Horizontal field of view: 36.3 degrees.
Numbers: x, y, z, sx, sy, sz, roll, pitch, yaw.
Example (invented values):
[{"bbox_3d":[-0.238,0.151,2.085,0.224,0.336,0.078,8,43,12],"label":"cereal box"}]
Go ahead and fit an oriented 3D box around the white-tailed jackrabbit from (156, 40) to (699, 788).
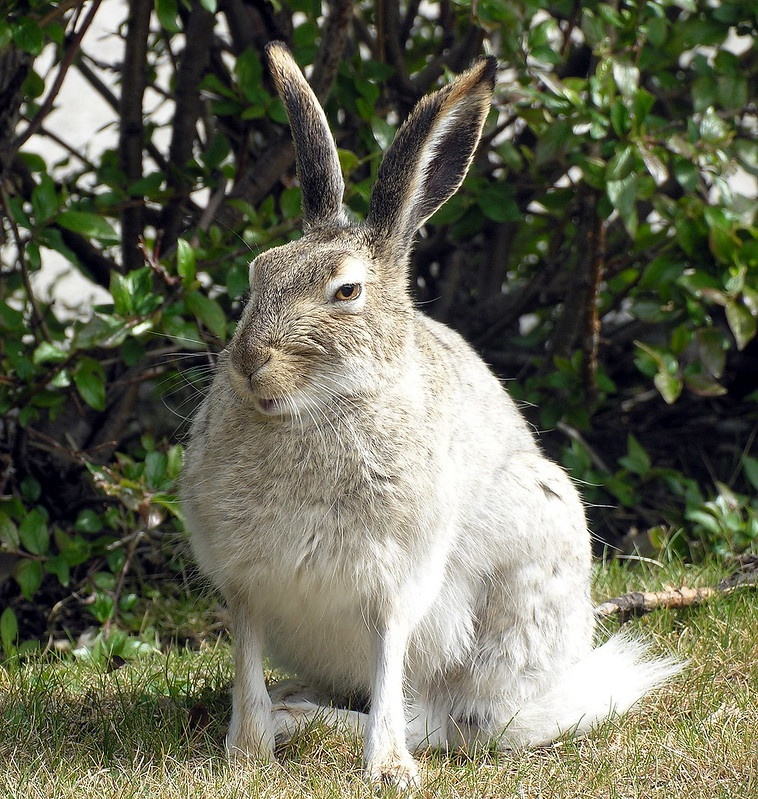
[{"bbox_3d":[0.092,0.068,3.656,1.140,1.878,2.051,7,2,30],"label":"white-tailed jackrabbit"}]
